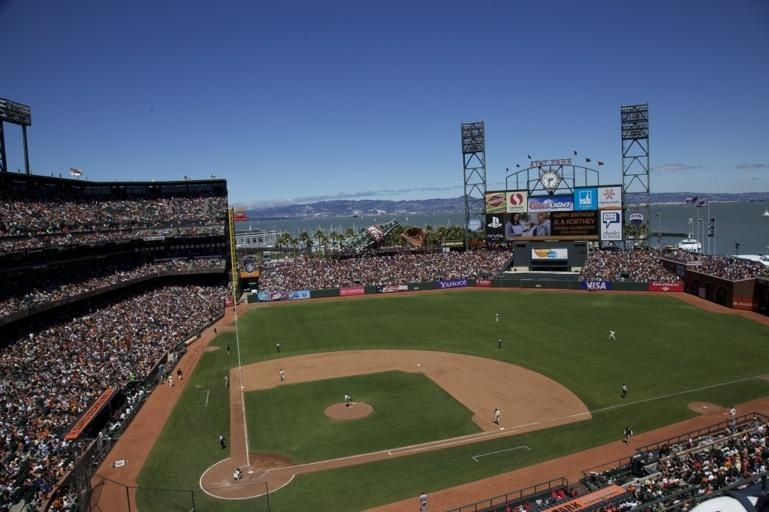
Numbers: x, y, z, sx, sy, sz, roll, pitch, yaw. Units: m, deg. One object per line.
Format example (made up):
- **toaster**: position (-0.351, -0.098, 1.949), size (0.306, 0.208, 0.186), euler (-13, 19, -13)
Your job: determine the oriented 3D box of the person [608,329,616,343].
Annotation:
- **person**: position (24.878, 8.842, 63.843), size (0.739, 1.134, 0.498), euler (3, 18, 4)
